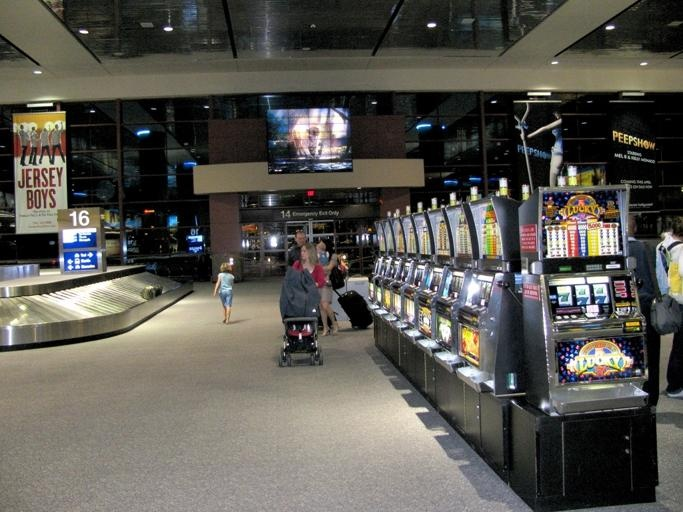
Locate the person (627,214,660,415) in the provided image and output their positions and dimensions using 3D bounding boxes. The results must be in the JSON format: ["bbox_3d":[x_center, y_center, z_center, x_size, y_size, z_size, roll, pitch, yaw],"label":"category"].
[{"bbox_3d":[3.168,0.600,6.022,0.342,2.059,1.497,2,7,29],"label":"person"}]

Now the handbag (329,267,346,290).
[{"bbox_3d":[-0.086,0.389,10.545,0.394,0.514,0.223,1,6,-1],"label":"handbag"}]

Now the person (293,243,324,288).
[{"bbox_3d":[-0.557,0.205,9.102,0.615,0.799,0.474,3,11,22],"label":"person"}]

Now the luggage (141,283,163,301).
[{"bbox_3d":[-4.667,0.874,14.130,0.294,0.321,0.861,-1,-3,4],"label":"luggage"}]

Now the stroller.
[{"bbox_3d":[-0.594,0.849,8.255,0.611,1.339,0.468,-2,6,-3],"label":"stroller"}]

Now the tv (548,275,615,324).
[{"bbox_3d":[1.981,0.336,4.736,0.536,0.330,0.121,-2,6,-5],"label":"tv"}]
